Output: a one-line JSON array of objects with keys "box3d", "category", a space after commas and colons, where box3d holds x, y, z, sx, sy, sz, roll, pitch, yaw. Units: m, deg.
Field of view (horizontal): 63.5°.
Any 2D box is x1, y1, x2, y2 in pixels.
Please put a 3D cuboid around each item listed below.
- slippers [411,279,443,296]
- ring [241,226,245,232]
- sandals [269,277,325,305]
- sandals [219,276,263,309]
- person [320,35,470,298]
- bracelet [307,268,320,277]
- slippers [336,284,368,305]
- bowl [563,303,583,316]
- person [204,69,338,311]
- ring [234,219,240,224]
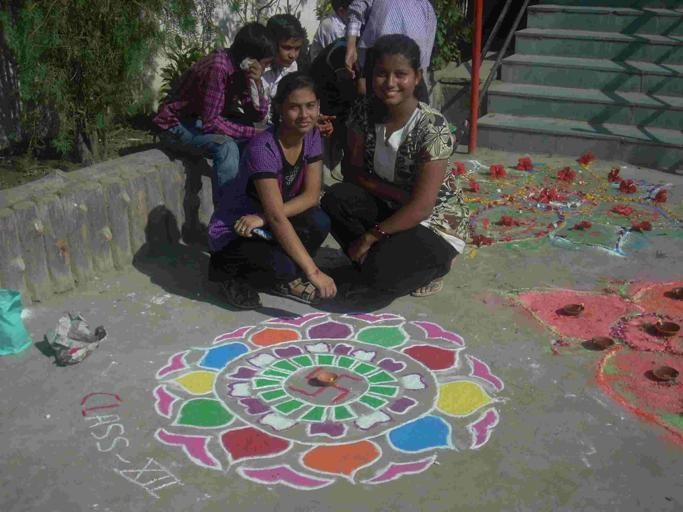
[{"box3d": [0.632, 0.229, 4.015, 0.222, 0.075, 0.106, -9, -2, -37], "category": "slippers"}, {"box3d": [-0.665, -0.181, 3.711, 0.045, 0.035, 0.010, 2, -2, -9], "category": "ring"}, {"box3d": [-0.335, 0.264, 3.955, 0.401, 0.136, 0.158, 8, 23, 13], "category": "sandals"}, {"box3d": [-0.725, 0.260, 3.935, 0.328, 0.117, 0.151, 19, 23, 40], "category": "sandals"}, {"box3d": [0.423, -0.658, 3.971, 1.198, 1.751, 1.033, -14, 33, -17], "category": "person"}, {"box3d": [-0.180, 0.110, 3.592, 0.067, 0.028, 0.035, -26, 20, 38], "category": "bracelet"}, {"box3d": [0.077, 0.269, 3.892, 0.163, 0.037, 0.153, -34, 69, -13], "category": "slippers"}, {"box3d": [1.588, 0.365, 3.754, 0.108, 0.025, 0.075, -11, 32, 4], "category": "bowl"}, {"box3d": [-0.474, -0.396, 3.719, 0.873, 1.591, 0.845, -2, 33, -13], "category": "person"}, {"box3d": [-0.717, -0.232, 3.784, 0.035, 0.008, 0.032, -7, 28, 4], "category": "ring"}]
